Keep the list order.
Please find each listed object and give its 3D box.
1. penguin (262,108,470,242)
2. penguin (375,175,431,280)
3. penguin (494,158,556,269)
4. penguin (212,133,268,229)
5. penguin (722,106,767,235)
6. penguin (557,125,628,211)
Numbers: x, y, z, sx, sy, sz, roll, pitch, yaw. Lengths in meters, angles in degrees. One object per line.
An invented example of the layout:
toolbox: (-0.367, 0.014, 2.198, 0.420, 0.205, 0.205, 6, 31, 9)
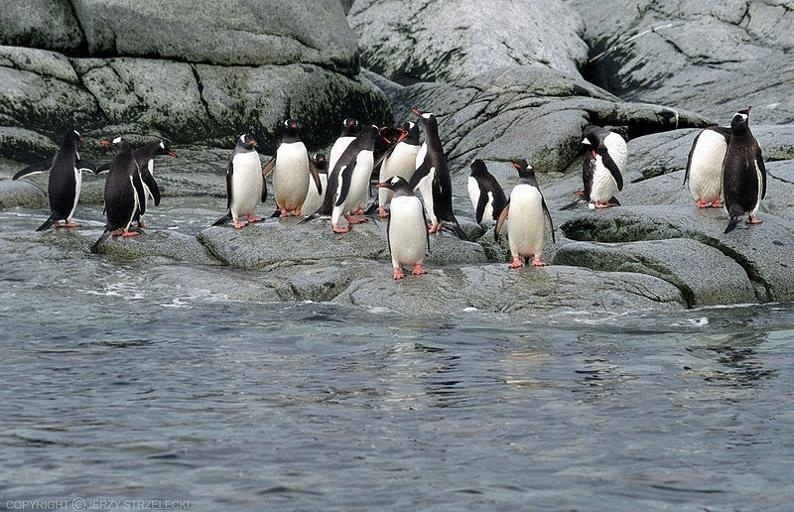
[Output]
penguin: (-0.802, -1.294, 14.339, 2.947, 1.483, 1.561, 20, 19, 18)
penguin: (0.113, -0.329, 12.287, 0.580, 1.232, 0.531, 2, 0, -6)
penguin: (1.650, -0.534, 12.999, 0.746, 1.341, 1.628, 2, 1, 7)
penguin: (-2.189, -1.031, 14.109, 0.673, 1.228, 0.905, 2, 0, -8)
penguin: (4.631, -1.131, 13.512, 0.745, 1.562, 0.668, -2, 0, 13)
penguin: (3.089, -1.377, 15.484, 1.229, 1.169, 1.607, -2, 3, 24)
